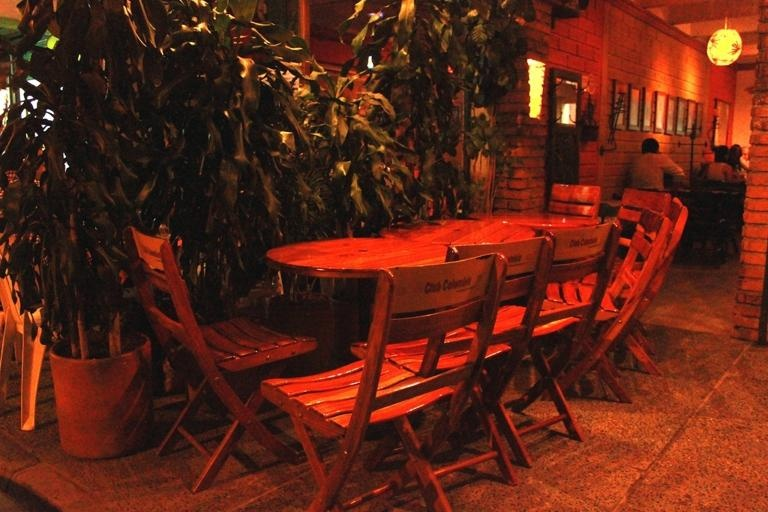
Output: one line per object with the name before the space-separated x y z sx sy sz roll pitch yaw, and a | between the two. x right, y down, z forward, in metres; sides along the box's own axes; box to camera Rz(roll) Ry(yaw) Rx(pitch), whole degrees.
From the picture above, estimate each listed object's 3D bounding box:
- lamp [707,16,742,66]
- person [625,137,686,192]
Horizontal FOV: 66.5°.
lamp | 5.692 -3.622 9.810 0.431 0.821 1.275 5 13 28
person | 4.186 -1.434 9.099 0.627 0.758 0.864 10 16 42
